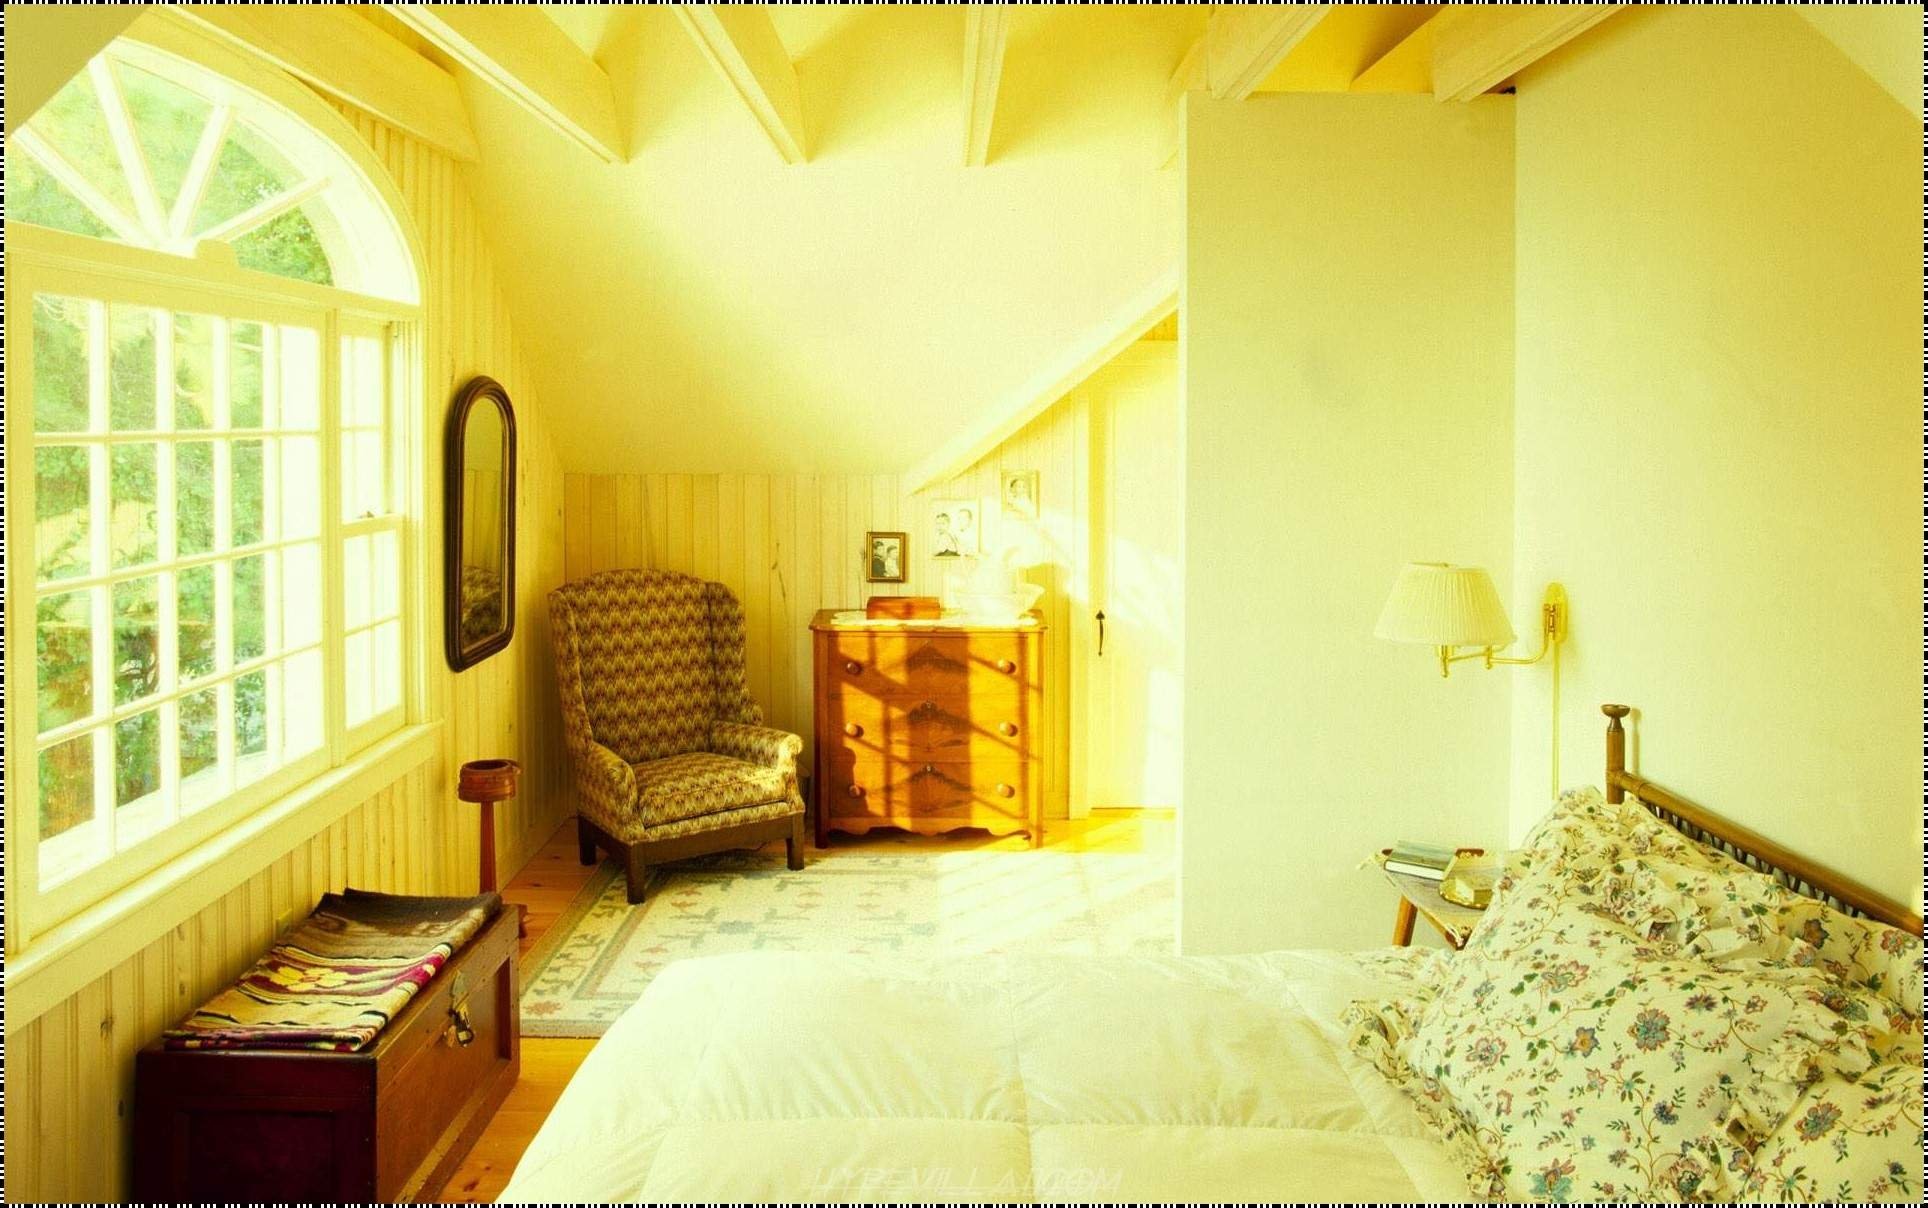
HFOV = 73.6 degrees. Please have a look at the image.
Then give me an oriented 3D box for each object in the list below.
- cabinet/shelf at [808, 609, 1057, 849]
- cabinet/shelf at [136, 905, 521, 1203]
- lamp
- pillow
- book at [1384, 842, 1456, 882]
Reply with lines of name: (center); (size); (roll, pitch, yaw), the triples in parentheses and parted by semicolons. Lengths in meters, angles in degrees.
cabinet/shelf: (-0.171, 0.570, 6.836); (1.763, 1.553, 0.960); (0, 3, -1)
cabinet/shelf: (-1.945, 1.340, 4.015); (0.687, 0.713, 1.197); (0, 4, -2)
lamp: (1.704, 0.060, 4.363); (0.589, 0.356, 0.402); (7, -6, -27)
pillow: (1.705, 1.053, 3.247); (1.206, 0.650, 1.011); (12, 17, 38)
book: (1.555, 0.887, 4.402); (0.170, 0.039, 0.170); (2, 7, 23)
